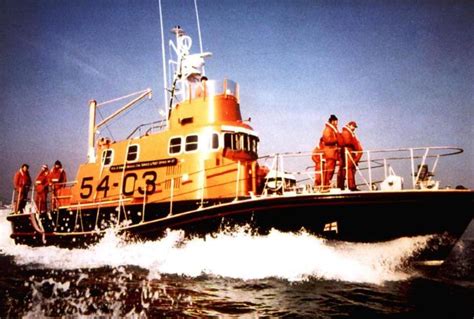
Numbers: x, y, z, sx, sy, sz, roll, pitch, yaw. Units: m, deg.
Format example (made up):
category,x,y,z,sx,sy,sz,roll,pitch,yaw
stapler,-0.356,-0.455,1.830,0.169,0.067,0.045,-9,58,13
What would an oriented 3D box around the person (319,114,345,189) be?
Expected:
category,x,y,z,sx,sy,sz,roll,pitch,yaw
person,2.473,-0.194,12.736,0.476,1.822,0.899,5,12,29
